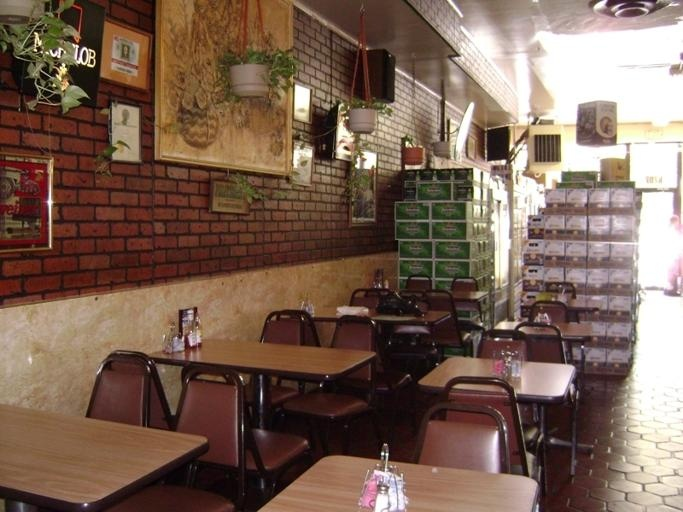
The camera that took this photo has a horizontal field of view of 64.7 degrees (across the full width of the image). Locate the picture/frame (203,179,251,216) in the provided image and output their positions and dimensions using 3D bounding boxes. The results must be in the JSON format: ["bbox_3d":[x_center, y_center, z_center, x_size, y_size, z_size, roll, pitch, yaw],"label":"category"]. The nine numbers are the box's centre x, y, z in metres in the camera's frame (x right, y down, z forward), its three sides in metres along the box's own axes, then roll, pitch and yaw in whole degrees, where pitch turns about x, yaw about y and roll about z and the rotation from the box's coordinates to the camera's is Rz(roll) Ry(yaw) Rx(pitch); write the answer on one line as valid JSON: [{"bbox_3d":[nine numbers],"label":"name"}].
[{"bbox_3d":[-1.093,-0.549,5.038,0.035,0.235,0.353,-7,-7,27],"label":"picture/frame"}]

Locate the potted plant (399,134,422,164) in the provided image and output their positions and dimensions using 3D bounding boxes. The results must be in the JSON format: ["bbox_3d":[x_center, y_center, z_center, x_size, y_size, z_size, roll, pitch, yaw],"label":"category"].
[{"bbox_3d":[1.147,-1.681,8.975,0.435,0.680,0.479,0,1,8],"label":"potted plant"}]

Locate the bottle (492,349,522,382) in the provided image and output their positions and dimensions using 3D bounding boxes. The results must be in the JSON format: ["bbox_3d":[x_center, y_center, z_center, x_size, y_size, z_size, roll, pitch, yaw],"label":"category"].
[{"bbox_3d":[1.143,0.754,3.754,0.178,0.274,0.185,0,-1,0],"label":"bottle"}]

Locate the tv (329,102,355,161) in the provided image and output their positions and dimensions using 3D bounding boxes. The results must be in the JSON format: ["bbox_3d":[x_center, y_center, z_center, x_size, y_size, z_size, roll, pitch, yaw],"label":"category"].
[{"bbox_3d":[-0.018,-1.543,6.655,0.238,0.801,0.754,-4,0,8],"label":"tv"}]

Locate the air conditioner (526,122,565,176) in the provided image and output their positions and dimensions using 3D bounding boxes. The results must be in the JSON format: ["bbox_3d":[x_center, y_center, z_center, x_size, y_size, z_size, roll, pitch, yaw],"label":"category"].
[{"bbox_3d":[5.494,-2.371,14.588,0.819,1.386,1.384,2,-33,19],"label":"air conditioner"}]

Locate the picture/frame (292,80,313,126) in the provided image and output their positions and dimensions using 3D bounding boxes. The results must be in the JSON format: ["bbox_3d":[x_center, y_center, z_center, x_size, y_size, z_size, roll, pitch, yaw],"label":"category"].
[{"bbox_3d":[-0.464,-1.727,6.136,0.052,0.499,0.561,-2,4,20],"label":"picture/frame"}]

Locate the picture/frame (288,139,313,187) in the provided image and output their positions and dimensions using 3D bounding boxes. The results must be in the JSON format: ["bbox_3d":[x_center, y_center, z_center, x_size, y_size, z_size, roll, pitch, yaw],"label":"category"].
[{"bbox_3d":[-0.485,-1.052,6.132,0.054,0.432,0.500,-1,13,20],"label":"picture/frame"}]

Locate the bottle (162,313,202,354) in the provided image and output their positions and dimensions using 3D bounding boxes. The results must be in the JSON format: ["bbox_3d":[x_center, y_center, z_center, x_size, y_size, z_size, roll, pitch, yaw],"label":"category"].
[{"bbox_3d":[-1.241,0.638,4.264,0.368,0.384,0.199,-1,-13,0],"label":"bottle"}]

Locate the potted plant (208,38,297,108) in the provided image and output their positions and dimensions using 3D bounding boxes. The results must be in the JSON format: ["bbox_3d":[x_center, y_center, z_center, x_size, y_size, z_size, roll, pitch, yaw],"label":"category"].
[{"bbox_3d":[-0.786,-1.676,4.905,0.582,0.385,0.705,0,-3,-6],"label":"potted plant"}]

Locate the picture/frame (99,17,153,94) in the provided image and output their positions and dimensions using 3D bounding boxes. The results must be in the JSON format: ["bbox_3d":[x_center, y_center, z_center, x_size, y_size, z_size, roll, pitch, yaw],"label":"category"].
[{"bbox_3d":[-1.632,-1.482,4.071,0.030,0.438,0.514,11,10,19],"label":"picture/frame"}]
